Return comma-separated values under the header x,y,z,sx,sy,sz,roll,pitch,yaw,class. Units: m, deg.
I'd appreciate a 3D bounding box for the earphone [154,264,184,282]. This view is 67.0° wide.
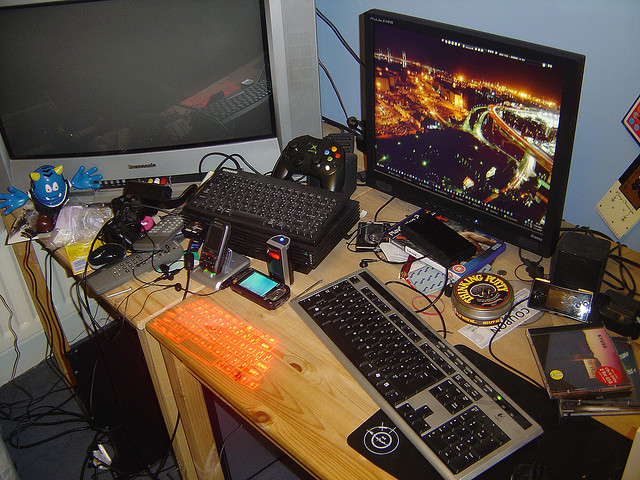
x,y,z,sx,sy,sz,roll,pitch,yaw,class
-0.430,0.088,1.364,0.079,0.027,0.045,-5,37,-12,earphone

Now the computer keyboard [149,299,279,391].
x,y,z,sx,sy,sz,roll,pitch,yaw,class
-0.260,0.252,1.176,0.309,0.040,0.152,24,50,27,computer keyboard

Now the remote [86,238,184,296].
x,y,z,sx,sy,sz,roll,pitch,yaw,class
-0.535,0.078,1.366,0.280,0.062,0.106,-32,47,-22,remote

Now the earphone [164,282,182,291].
x,y,z,sx,sy,sz,roll,pitch,yaw,class
-0.403,0.126,1.325,0.051,0.015,0.020,12,37,11,earphone

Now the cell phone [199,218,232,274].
x,y,z,sx,sy,sz,roll,pitch,yaw,class
-0.288,0.016,1.310,0.079,0.139,0.034,14,0,29,cell phone

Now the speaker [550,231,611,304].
x,y,z,sx,sy,sz,roll,pitch,yaw,class
0.643,0.072,1.203,0.109,0.202,0.108,18,-4,19,speaker

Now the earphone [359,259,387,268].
x,y,z,sx,sy,sz,roll,pitch,yaw,class
0.144,0.062,1.351,0.057,0.018,0.022,-2,30,-3,earphone

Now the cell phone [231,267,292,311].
x,y,z,sx,sy,sz,roll,pitch,yaw,class
-0.161,0.122,1.279,0.143,0.038,0.083,28,52,30,cell phone

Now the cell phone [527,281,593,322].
x,y,z,sx,sy,sz,roll,pitch,yaw,class
0.590,0.148,1.184,0.133,0.076,0.132,13,-6,11,cell phone

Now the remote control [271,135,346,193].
x,y,z,sx,sy,sz,roll,pitch,yaw,class
-0.033,-0.237,1.535,0.240,0.099,0.203,11,36,22,remote control

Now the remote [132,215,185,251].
x,y,z,sx,sy,sz,roll,pitch,yaw,class
-0.478,-0.020,1.437,0.076,0.018,0.140,19,43,22,remote

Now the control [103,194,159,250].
x,y,z,sx,sy,sz,roll,pitch,yaw,class
-0.595,-0.085,1.544,0.153,0.091,0.188,24,-1,-23,control

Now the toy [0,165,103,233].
x,y,z,sx,sy,sz,roll,pitch,yaw,class
-0.860,-0.143,1.535,0.312,0.165,0.173,-9,38,-16,toy

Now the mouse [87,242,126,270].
x,y,z,sx,sy,sz,roll,pitch,yaw,class
-0.621,0.040,1.397,0.066,0.020,0.090,32,46,24,mouse

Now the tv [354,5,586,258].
x,y,z,sx,sy,sz,roll,pitch,yaw,class
0.410,-0.278,1.275,0.636,0.547,0.074,29,45,30,tv

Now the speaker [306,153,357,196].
x,y,z,sx,sy,sz,roll,pitch,yaw,class
0.059,-0.247,1.617,0.187,0.125,0.078,4,33,4,speaker
